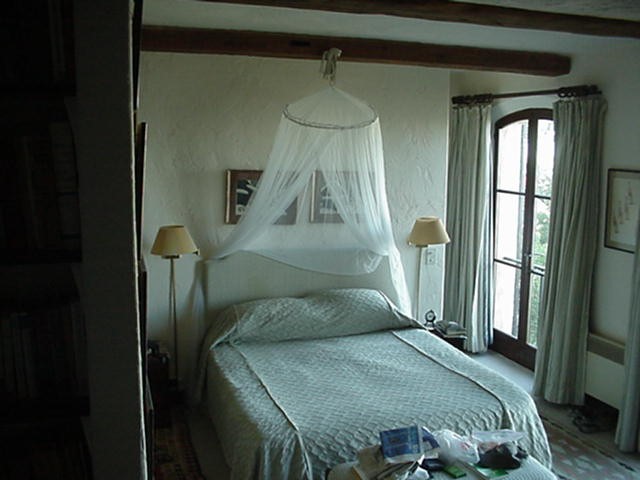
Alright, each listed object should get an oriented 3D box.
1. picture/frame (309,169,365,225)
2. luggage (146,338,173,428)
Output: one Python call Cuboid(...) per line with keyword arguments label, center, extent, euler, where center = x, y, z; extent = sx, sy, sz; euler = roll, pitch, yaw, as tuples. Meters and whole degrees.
Cuboid(label="picture/frame", center=(0.143, -0.359, 4.124), extent=(0.407, 0.388, 0.043), euler=(3, 18, 19))
Cuboid(label="luggage", center=(-1.195, 1.072, 3.822), extent=(0.145, 0.593, 0.264), euler=(-4, 12, -20))
